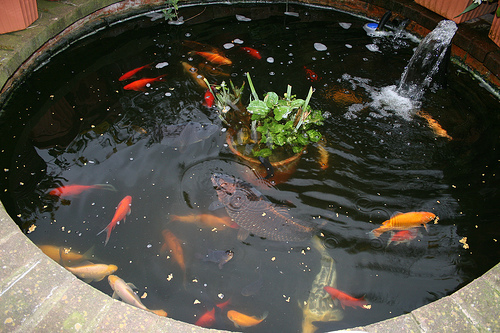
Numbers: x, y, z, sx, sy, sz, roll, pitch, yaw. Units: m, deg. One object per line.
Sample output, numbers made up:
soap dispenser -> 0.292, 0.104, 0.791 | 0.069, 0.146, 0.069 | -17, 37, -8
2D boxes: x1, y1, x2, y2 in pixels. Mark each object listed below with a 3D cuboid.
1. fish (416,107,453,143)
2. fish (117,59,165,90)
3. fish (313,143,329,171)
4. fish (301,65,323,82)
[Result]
fish -> 2.523, -0.566, 6.569 | 0.615, 0.187, 0.251 | 49, 27, 22
fish -> -1.596, -1.268, 6.932 | 0.503, 0.178, 0.375 | -24, 63, -6
fish -> 0.932, -0.114, 6.239 | 0.162, 0.119, 0.361 | 11, 57, -17
fish -> 0.910, -1.351, 7.145 | 0.175, 0.078, 0.277 | -32, 63, -12
